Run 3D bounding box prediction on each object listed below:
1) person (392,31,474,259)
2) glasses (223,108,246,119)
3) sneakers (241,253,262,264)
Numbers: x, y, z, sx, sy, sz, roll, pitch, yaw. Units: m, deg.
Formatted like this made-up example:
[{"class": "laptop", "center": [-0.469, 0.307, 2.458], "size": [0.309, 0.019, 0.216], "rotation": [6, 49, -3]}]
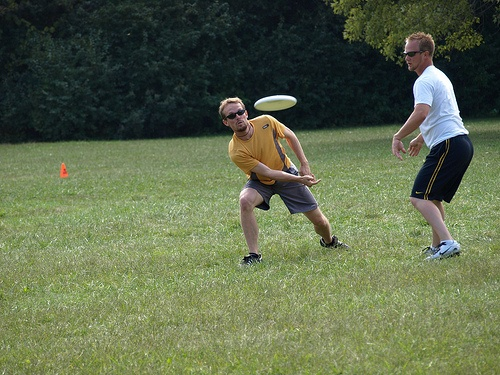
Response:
[{"class": "person", "center": [3.613, -0.805, 14.499], "size": [1.388, 4.265, 1.179], "rotation": [0, 15, 20]}, {"class": "glasses", "center": [-0.299, -1.454, 14.672], "size": [0.410, 0.164, 0.092], "rotation": [-6, 14, -4]}, {"class": "sneakers", "center": [0.022, 1.448, 14.942], "size": [0.423, 0.177, 0.223], "rotation": [-6, 15, -4]}]
